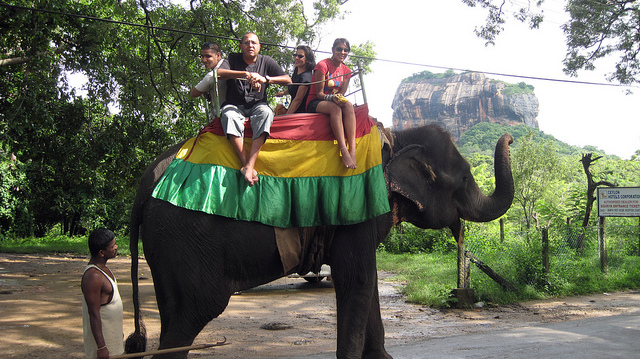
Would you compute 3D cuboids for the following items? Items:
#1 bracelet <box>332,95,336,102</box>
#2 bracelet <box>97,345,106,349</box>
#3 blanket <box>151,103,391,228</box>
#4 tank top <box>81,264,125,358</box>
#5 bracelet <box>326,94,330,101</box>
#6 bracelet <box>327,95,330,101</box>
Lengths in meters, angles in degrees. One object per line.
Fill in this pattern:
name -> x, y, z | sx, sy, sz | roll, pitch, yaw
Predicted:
bracelet -> 0.318, -1.833, 12.474 | 0.025, 0.155, 0.047 | -6, 10, -35
bracelet -> -4.743, 3.646, 12.017 | 0.167, 0.046, 0.043 | -2, 8, -18
blanket -> -0.821, -0.213, 12.275 | 4.738, 2.489, 0.636 | -1, 8, -5
tank top -> -4.891, 2.791, 12.480 | 0.769, 2.212, 0.742 | 2, 1, -25
bracelet -> 0.197, -1.860, 12.542 | 0.031, 0.119, 0.123 | 16, -13, -8
bracelet -> 0.216, -1.844, 12.532 | 0.076, 0.068, 0.074 | 2, -3, 0
